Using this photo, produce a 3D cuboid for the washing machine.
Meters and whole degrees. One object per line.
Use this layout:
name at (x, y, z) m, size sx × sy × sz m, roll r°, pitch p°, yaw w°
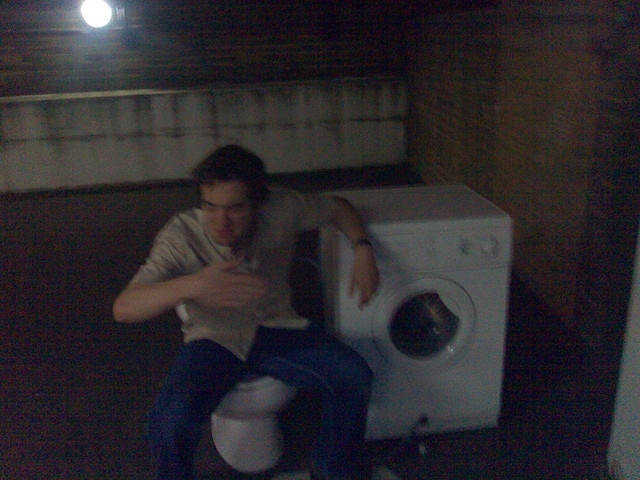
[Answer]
washing machine at (0.307, 0.275, 2.208) m, size 0.652 × 0.756 × 0.494 m, roll -3°, pitch 12°, yaw -4°
